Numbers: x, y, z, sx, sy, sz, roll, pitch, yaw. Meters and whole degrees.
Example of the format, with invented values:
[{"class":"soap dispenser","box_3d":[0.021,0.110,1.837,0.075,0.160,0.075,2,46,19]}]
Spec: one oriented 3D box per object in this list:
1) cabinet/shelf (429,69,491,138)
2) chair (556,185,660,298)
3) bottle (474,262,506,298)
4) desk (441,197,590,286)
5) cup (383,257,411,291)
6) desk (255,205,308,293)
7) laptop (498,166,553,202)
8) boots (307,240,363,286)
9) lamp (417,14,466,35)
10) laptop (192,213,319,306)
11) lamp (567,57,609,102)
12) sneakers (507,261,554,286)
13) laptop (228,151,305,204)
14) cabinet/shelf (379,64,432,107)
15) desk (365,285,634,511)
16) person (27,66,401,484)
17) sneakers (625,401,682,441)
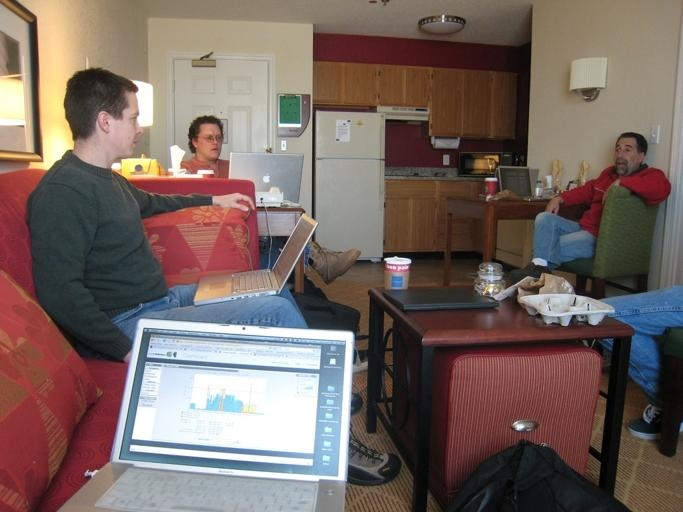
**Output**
[{"class":"cabinet/shelf","box_3d":[1.382,-1.857,6.341,0.767,0.743,0.249,0,4,-16]},{"class":"chair","box_3d":[1.914,-0.089,3.743,0.706,0.835,0.432,-9,14,-37]},{"class":"bottle","box_3d":[0.573,0.088,2.067,0.122,0.148,0.126,2,4,21]},{"class":"desk","box_3d":[1.419,-0.325,4.373,1.046,1.033,0.754,-2,6,-16]},{"class":"cup","box_3d":[0.210,0.073,2.082,0.109,0.123,0.109,1,6,0]},{"class":"desk","box_3d":[-0.322,-0.036,3.315,0.407,0.562,0.566,0,8,-2]},{"class":"laptop","box_3d":[1.518,-0.576,4.574,0.462,0.360,0.320,1,3,-20]},{"class":"boots","box_3d":[-0.021,-0.022,3.482,0.248,0.240,0.121,-41,30,9]},{"class":"lamp","box_3d":[1.062,-2.475,5.602,0.436,0.130,0.404,9,15,41]},{"class":"laptop","box_3d":[-0.332,0.033,2.052,0.381,0.249,0.370,1,7,-2]},{"class":"lamp","box_3d":[2.010,-1.455,4.392,0.205,0.337,0.346,-3,11,-11]},{"class":"sneakers","box_3d":[1.162,0.105,3.259,0.256,0.114,0.086,-19,24,-16]},{"class":"laptop","box_3d":[-0.476,-0.548,3.466,0.465,0.334,0.344,1,21,-13]},{"class":"cabinet/shelf","box_3d":[0.731,-1.921,6.215,0.756,0.565,0.421,1,13,-2]},{"class":"desk","box_3d":[0.521,0.469,1.935,0.752,0.644,0.642,-3,11,-13]},{"class":"person","box_3d":[-0.377,-0.144,2.494,1.515,1.809,1.170,-2,15,-12]},{"class":"sneakers","box_3d":[1.309,0.702,2.223,0.278,0.126,0.104,0,2,-7]}]
